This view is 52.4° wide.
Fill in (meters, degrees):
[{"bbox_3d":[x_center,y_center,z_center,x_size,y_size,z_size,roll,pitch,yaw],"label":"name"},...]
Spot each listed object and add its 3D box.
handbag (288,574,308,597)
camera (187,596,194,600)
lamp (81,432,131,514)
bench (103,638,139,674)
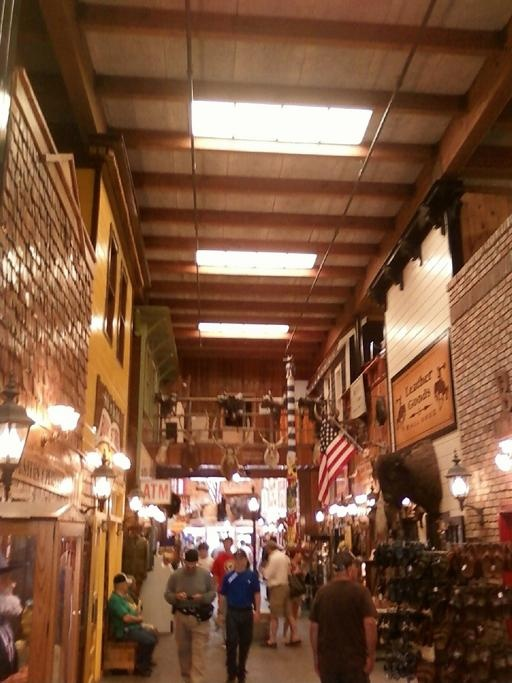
[{"bbox_3d":[0.802,4.846,10.064,0.274,0.593,0.546,-10,-20,17],"label":"handbag"},{"bbox_3d":[-0.768,3.011,6.116,0.088,0.039,0.067,-3,-23,12],"label":"camera"},{"bbox_3d":[-2.319,2.118,8.275,0.451,1.444,3.429,5,-23,-9],"label":"lamp"},{"bbox_3d":[-2.070,4.785,8.047,0.417,0.530,0.405,-2,-20,3],"label":"bench"}]
